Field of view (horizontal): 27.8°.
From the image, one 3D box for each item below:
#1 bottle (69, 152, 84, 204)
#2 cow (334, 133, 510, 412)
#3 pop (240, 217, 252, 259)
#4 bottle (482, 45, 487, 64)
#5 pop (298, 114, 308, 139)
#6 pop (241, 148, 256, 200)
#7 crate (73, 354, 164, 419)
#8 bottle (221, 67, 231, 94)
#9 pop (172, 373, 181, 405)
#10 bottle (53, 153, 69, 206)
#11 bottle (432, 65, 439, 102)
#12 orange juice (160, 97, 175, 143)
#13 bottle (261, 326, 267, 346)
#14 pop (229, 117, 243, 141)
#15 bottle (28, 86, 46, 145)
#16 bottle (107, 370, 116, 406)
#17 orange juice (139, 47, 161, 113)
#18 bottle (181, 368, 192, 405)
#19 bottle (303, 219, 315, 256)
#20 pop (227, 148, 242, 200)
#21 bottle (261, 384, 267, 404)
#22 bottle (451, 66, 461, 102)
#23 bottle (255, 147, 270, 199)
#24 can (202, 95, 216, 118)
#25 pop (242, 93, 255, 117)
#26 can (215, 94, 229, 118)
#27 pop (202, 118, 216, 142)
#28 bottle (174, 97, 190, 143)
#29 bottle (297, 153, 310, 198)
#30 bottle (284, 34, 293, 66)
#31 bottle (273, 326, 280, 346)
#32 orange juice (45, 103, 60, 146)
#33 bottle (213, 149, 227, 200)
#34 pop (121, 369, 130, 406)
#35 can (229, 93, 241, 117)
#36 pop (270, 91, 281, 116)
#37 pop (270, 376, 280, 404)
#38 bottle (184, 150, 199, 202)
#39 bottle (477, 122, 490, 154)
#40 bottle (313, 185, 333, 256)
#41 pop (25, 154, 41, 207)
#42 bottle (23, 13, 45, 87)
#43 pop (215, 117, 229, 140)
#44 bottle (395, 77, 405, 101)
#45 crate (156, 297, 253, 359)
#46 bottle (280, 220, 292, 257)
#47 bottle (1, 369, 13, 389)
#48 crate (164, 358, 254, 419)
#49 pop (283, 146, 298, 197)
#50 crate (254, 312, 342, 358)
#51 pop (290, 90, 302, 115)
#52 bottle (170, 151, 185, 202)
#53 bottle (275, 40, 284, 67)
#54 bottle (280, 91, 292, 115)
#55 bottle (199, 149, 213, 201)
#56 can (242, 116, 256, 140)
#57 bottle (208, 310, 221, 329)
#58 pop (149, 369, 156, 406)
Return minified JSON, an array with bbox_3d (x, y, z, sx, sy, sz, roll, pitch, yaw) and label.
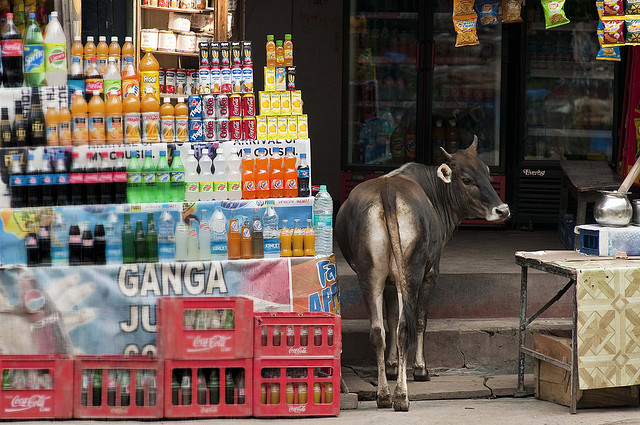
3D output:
[{"bbox_3d":[-2.576,-0.366,13.665,0.153,0.528,0.116,-3,10,-1],"label":"bottle"},{"bbox_3d":[0.988,0.641,14.335,1.624,2.640,1.132,-11,13,-39],"label":"cow"},{"bbox_3d":[-0.785,0.310,13.699,0.132,0.340,0.068,-4,10,-8],"label":"pop"},{"bbox_3d":[2.313,-2.218,18.148,0.062,0.261,0.018,0,10,15],"label":"bottle"},{"bbox_3d":[-0.189,-0.927,13.974,0.097,0.252,0.109,-2,10,8],"label":"pop"},{"bbox_3d":[-0.769,-0.424,13.854,0.145,0.519,0.157,-4,10,-4],"label":"pop"},{"bbox_3d":[-2.086,1.810,13.427,0.994,0.634,0.294,1,-4,-6],"label":"crate"},{"bbox_3d":[-1.013,-1.432,14.000,0.110,0.272,0.070,-4,10,-7],"label":"bottle"},{"bbox_3d":[-1.496,1.827,13.444,0.076,0.303,0.089,-2,10,3],"label":"pop"},{"bbox_3d":[-2.751,-0.316,13.722,0.165,0.611,0.163,-1,5,0],"label":"bottle"},{"bbox_3d":[1.635,-1.818,18.225,0.081,0.510,0.138,0,10,17],"label":"bottle"},{"bbox_3d":[-1.642,-0.961,13.894,0.166,0.406,0.146,-4,10,-4],"label":"orange juice"},{"bbox_3d":[-0.582,1.282,13.504,0.066,0.198,0.045,-4,10,-6],"label":"bottle"},{"bbox_3d":[-0.902,-0.907,13.942,0.150,0.241,0.062,-4,10,-5],"label":"pop"},{"bbox_3d":[-3.033,-1.029,13.811,0.182,0.597,0.167,-3,10,0],"label":"bottle"},{"bbox_3d":[-2.164,1.813,13.440,0.092,0.342,0.129,-3,10,-2],"label":"bottle"},{"bbox_3d":[-1.867,-1.462,14.142,0.195,0.704,0.174,3,-12,-7],"label":"orange juice"},{"bbox_3d":[-1.385,1.800,13.445,0.118,0.360,0.089,-4,10,-8],"label":"bottle"},{"bbox_3d":[-0.120,0.263,13.804,0.116,0.375,0.127,-3,10,0],"label":"bottle"},{"bbox_3d":[-0.916,-0.420,13.829,0.158,0.525,0.150,-4,10,-5],"label":"pop"},{"bbox_3d":[-0.581,1.887,13.495,0.050,0.195,0.065,1,11,22],"label":"bottle"},{"bbox_3d":[1.918,-1.815,18.239,0.139,0.483,0.101,-2,10,5],"label":"bottle"},{"bbox_3d":[-0.618,-0.429,13.852,0.157,0.521,0.171,-3,10,0],"label":"bottle"},{"bbox_3d":[-1.198,-1.144,13.926,0.141,0.240,0.073,-4,10,-7],"label":"can"},{"bbox_3d":[-0.778,-1.161,13.959,0.120,0.249,0.076,-2,10,6],"label":"pop"},{"bbox_3d":[-1.054,-1.148,13.933,0.156,0.236,0.067,-4,10,-3],"label":"can"},{"bbox_3d":[-1.189,-0.895,13.925,0.145,0.246,0.068,-4,10,-5],"label":"pop"},{"bbox_3d":[-1.487,-0.997,13.940,0.158,0.457,0.186,-3,10,0],"label":"bottle"},{"bbox_3d":[-0.173,-0.406,13.861,0.120,0.448,0.171,-1,10,11],"label":"bottle"},{"bbox_3d":[-0.348,-1.777,14.146,0.081,0.331,0.170,-2,10,5],"label":"bottle"},{"bbox_3d":[-0.456,1.282,13.505,0.071,0.197,0.045,-4,10,-3],"label":"bottle"},{"bbox_3d":[-2.856,-0.918,13.805,0.149,0.390,0.086,-6,10,-17],"label":"orange juice"},{"bbox_3d":[-1.063,-0.409,13.816,0.157,0.521,0.129,-4,10,-5],"label":"bottle"},{"bbox_3d":[-2.021,1.809,13.435,0.093,0.350,0.125,-3,10,-2],"label":"pop"},{"bbox_3d":[-0.914,-1.155,13.937,0.131,0.248,0.076,-4,10,-4],"label":"can"},{"bbox_3d":[-0.477,-1.175,13.991,0.110,0.248,0.050,-4,10,-8],"label":"pop"},{"bbox_3d":[-0.471,1.879,13.506,0.103,0.208,0.064,-3,10,2],"label":"pop"},{"bbox_3d":[-1.371,-0.400,13.791,0.161,0.526,0.121,-4,10,-5],"label":"bottle"},{"bbox_3d":[2.294,-1.039,18.098,0.146,0.450,0.307,2,-8,13],"label":"bottle"},{"bbox_3d":[0.023,0.078,13.979,0.201,0.741,0.179,1,-1,1],"label":"bottle"},{"bbox_3d":[-3.041,-0.340,13.626,0.169,0.540,0.100,-5,10,-14],"label":"pop"},{"bbox_3d":[-3.098,-1.745,14.043,0.246,0.841,0.239,-3,1,0],"label":"bottle"},{"bbox_3d":[-1.046,-0.907,13.931,0.134,0.236,0.061,-4,10,-4],"label":"pop"},{"bbox_3d":[1.124,-1.735,18.183,0.133,0.321,0.043,-3,10,2],"label":"bottle"},{"bbox_3d":[-1.175,1.269,13.424,1.054,0.661,0.607,0,-3,-4],"label":"crate"},{"bbox_3d":[-0.362,0.275,13.731,0.099,0.382,0.116,4,12,37],"label":"bottle"},{"bbox_3d":[-3.249,1.716,13.398,0.116,0.183,0.084,-6,10,-16],"label":"bottle"},{"bbox_3d":[-1.151,1.821,13.461,0.964,0.658,0.181,-4,10,-7],"label":"crate"},{"bbox_3d":[-0.324,-0.440,13.874,0.164,0.508,0.170,-3,10,-3],"label":"pop"},{"bbox_3d":[-0.222,1.271,13.723,0.914,0.456,0.210,-2,7,-4],"label":"crate"},{"bbox_3d":[-0.261,-1.192,14.029,0.119,0.254,0.130,-3,10,-3],"label":"pop"},{"bbox_3d":[-1.514,-0.391,13.766,0.149,0.516,0.253,-2,10,7],"label":"bottle"},{"bbox_3d":[-0.433,-1.728,14.093,0.090,0.278,0.093,-3,10,0],"label":"bottle"},{"bbox_3d":[-0.368,-1.186,13.986,0.120,0.246,0.058,-4,10,-5],"label":"bottle"},{"bbox_3d":[-1.220,-0.405,13.781,0.158,0.530,0.104,-4,10,-6],"label":"bottle"},{"bbox_3d":[-0.762,-0.909,13.951,0.140,0.235,0.063,-4,10,-4],"label":"can"},{"bbox_3d":[-1.099,1.123,13.551,0.157,0.294,0.163,0,-17,0],"label":"bottle"},{"bbox_3d":[-1.742,1.808,13.427,0.071,0.355,0.109,-3,10,-2],"label":"pop"}]
